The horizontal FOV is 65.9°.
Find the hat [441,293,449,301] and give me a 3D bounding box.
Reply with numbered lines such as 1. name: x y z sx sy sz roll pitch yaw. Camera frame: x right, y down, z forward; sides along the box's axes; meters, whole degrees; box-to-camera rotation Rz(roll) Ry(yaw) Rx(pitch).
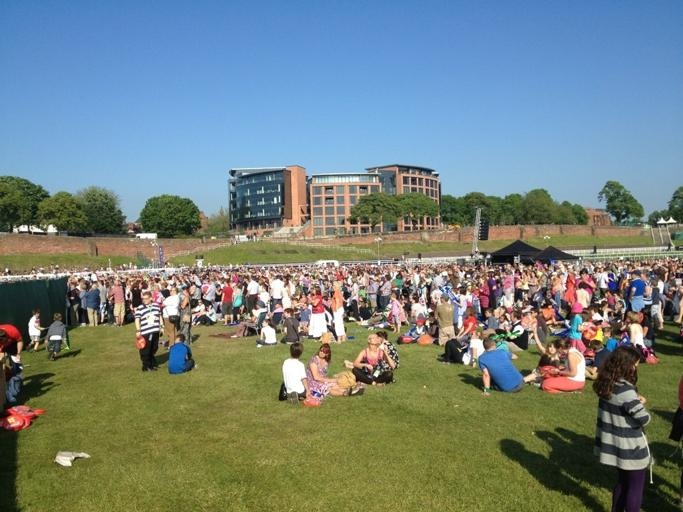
1. hat: 3.242 1.299 16.572 0.178 0.235 0.228 5 -18 -21

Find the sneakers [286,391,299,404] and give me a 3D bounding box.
1. sneakers: -1.079 3.207 11.993 0.167 0.276 0.096 -3 -12 8

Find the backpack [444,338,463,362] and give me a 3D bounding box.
1. backpack: 3.188 2.723 15.106 0.474 0.657 0.502 7 -1 -4

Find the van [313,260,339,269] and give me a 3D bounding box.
1. van: -1.278 0.753 50.709 1.947 1.031 1.224 1 -4 -7

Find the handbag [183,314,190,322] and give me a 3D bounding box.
1. handbag: -4.958 2.007 17.020 0.167 0.090 0.225 4 17 5

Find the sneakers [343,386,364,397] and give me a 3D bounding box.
1. sneakers: 0.326 3.201 12.585 0.511 0.246 0.177 -17 3 -18
